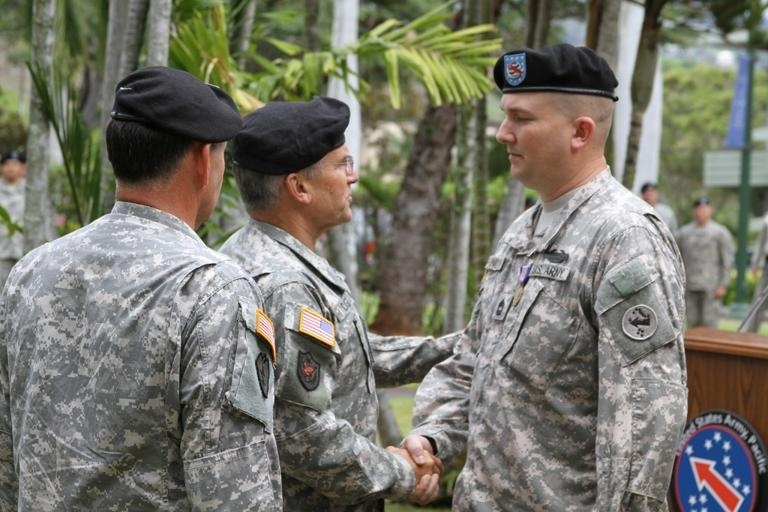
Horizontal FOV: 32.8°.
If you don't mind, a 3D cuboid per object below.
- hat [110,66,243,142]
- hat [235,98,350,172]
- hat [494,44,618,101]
[{"bbox_3d":[-0.920,-0.693,5.984,0.406,0.123,0.405,-13,40,-33],"label":"hat"},{"bbox_3d":[-0.452,-0.613,6.584,0.465,0.185,0.355,-21,36,-25],"label":"hat"},{"bbox_3d":[0.874,-0.931,6.561,0.402,0.153,0.326,5,7,-6],"label":"hat"}]
